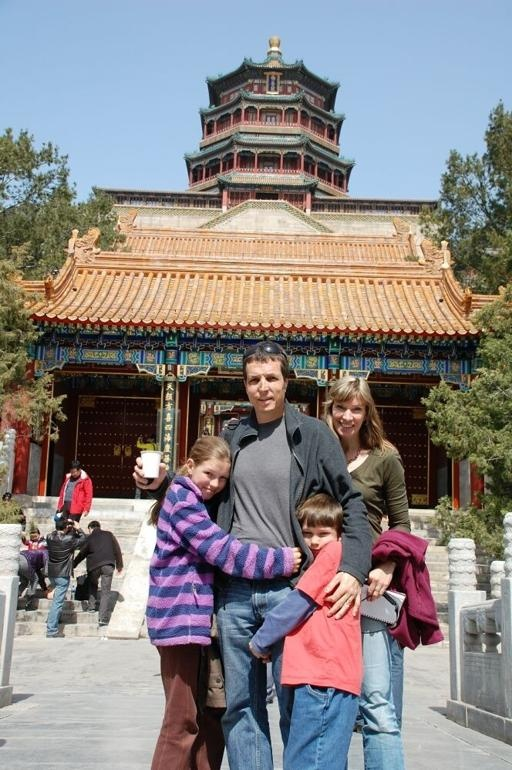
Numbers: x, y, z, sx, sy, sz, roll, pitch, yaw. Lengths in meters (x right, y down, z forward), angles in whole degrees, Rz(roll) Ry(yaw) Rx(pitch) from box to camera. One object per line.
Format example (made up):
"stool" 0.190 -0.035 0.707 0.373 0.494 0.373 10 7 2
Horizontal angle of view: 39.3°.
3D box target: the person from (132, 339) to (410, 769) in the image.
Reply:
"person" 0.129 0.512 2.364 0.540 1.369 0.428 -7 -14 29

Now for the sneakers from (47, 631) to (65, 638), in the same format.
"sneakers" -2.302 2.898 8.314 0.142 0.066 0.237 -4 -13 17

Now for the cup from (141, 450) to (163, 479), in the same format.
"cup" -0.376 0.283 2.567 0.091 0.093 0.096 1 -20 0
